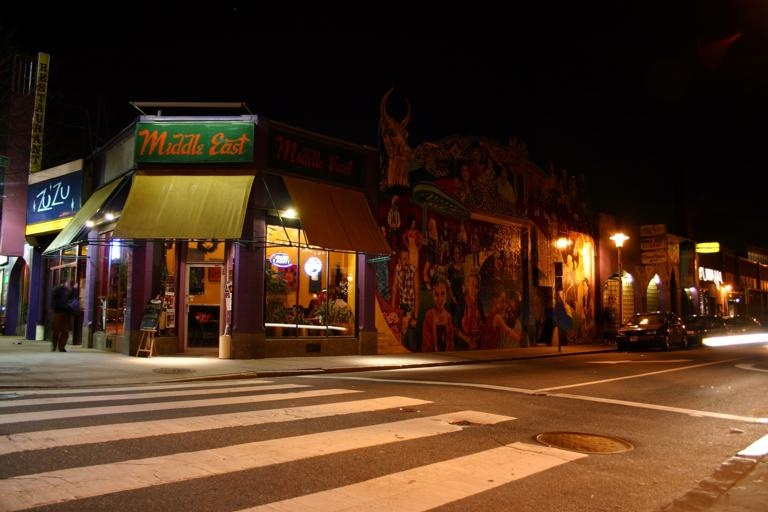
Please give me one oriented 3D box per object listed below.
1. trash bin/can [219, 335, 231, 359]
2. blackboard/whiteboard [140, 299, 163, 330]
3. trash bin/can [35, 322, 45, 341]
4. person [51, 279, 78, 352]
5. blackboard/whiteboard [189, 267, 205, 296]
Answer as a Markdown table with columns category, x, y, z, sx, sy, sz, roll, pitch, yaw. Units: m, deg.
| category | x | y | z | sx | sy | sz | roll | pitch | yaw |
| --- | --- | --- | --- | --- | --- | --- | --- | --- | --- |
| trash bin/can | -5.470 | 3.129 | 19.771 | 0.389 | 0.805 | 0.260 | 3 | -10 | -10 |
| blackboard/whiteboard | -7.954 | 2.010 | 19.626 | 0.750 | 1.060 | 0.270 | 0 | -17 | 26 |
| trash bin/can | -15.571 | 3.443 | 26.015 | 0.313 | 0.730 | 0.729 | 10 | -14 | -38 |
| person | -11.696 | 2.151 | 20.845 | 0.756 | 2.556 | 1.229 | 7 | -12 | -28 |
| blackboard/whiteboard | -7.391 | 0.988 | 22.674 | 0.609 | 0.965 | 1.070 | 4 | -12 | -16 |
